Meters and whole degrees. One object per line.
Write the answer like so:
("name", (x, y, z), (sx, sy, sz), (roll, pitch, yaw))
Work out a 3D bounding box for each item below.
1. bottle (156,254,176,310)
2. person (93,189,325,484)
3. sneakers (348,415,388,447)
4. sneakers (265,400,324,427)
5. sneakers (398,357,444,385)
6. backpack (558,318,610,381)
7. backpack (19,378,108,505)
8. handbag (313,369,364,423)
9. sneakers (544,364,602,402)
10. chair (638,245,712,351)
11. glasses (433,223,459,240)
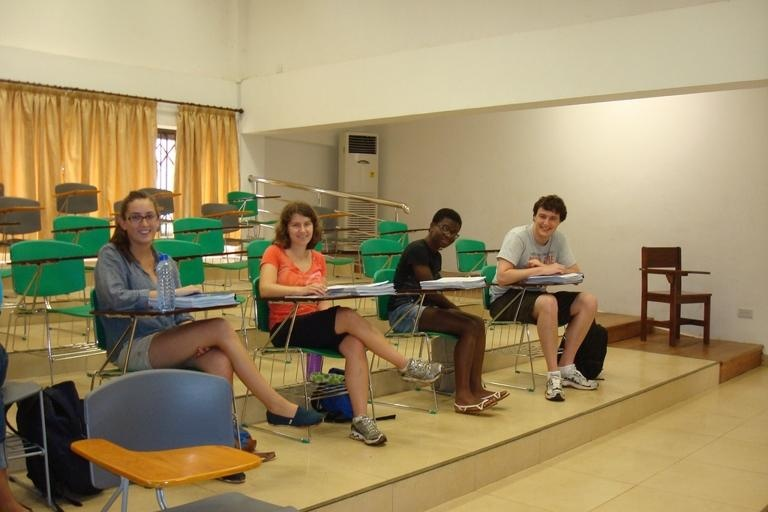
("bottle", (-1.178, 0.138, 3.176), (0.094, 0.274, 0.443), (-2, 6, -21))
("person", (-1.118, 0.400, 3.291), (1.088, 1.525, 0.541), (1, 6, 11))
("sneakers", (-0.118, 1.071, 3.618), (0.264, 0.127, 0.110), (-1, 3, 44))
("sneakers", (-0.524, 0.922, 3.435), (0.331, 0.112, 0.143), (-2, -3, 9))
("sneakers", (0.241, 0.753, 3.897), (0.259, 0.126, 0.136), (-3, 16, 6))
("backpack", (1.588, 0.779, 5.025), (0.520, 0.544, 0.337), (5, 3, 3))
("backpack", (-1.674, 0.949, 3.022), (0.395, 0.563, 0.262), (5, 7, 38))
("handbag", (-0.336, 0.956, 3.919), (0.252, 0.335, 0.137), (-21, 10, -6))
("sneakers", (1.430, 0.979, 4.614), (0.589, 0.275, 0.199), (-2, 9, -23))
("chair", (3.290, 0.418, 6.675), (0.743, 1.089, 0.673), (0, 2, -39))
("glasses", (0.465, -0.181, 4.326), (0.122, 0.089, 0.155), (4, -1, -13))
